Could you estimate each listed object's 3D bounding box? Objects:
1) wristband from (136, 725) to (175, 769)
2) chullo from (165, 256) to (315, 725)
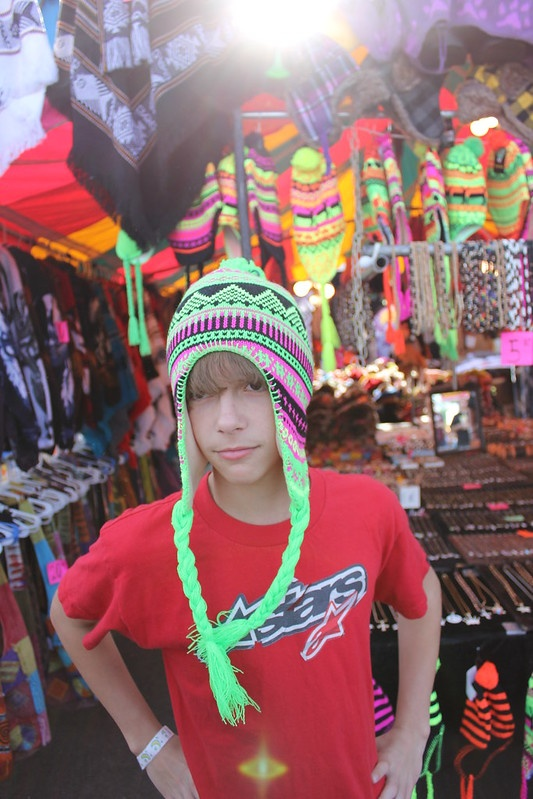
[{"bbox_3d":[-0.234,0.729,1.375,0.084,0.020,0.085,-49,1,-9],"label":"wristband"},{"bbox_3d":[-0.025,0.170,1.345,0.363,0.934,0.310,-8,6,-10],"label":"chullo"}]
